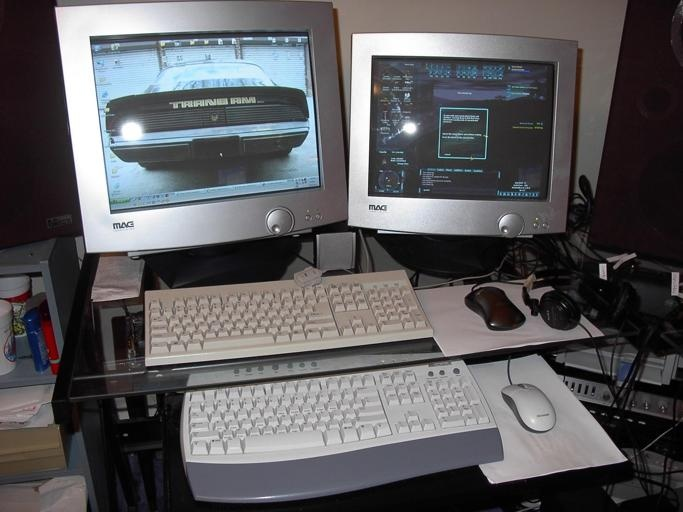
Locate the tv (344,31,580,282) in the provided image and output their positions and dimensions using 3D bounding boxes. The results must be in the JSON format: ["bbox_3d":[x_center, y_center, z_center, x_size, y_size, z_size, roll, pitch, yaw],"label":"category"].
[{"bbox_3d":[0.286,-0.267,1.505,0.708,0.728,0.417,1,7,-3],"label":"tv"}]

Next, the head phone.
[{"bbox_3d":[0.505,0.084,1.273,0.163,0.067,0.190,-23,25,-17],"label":"head phone"}]

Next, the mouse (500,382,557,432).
[{"bbox_3d":[0.391,0.309,1.141,0.082,0.049,0.145,-4,25,-10],"label":"mouse"}]
